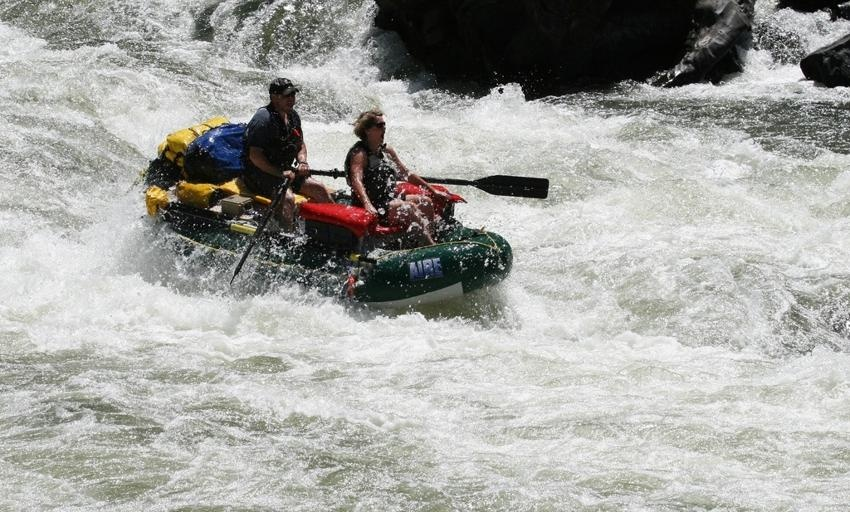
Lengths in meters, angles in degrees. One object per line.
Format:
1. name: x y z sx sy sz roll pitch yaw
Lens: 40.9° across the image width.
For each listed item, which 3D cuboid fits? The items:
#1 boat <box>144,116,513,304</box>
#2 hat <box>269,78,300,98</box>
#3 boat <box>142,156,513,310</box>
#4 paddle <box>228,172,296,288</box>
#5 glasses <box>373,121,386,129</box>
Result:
1. boat: -1.400 -0.287 15.748 4.721 1.270 2.460 19 28 8
2. hat: -1.961 -2.379 15.837 0.330 0.203 0.376 13 32 4
3. boat: -1.237 -0.158 15.679 3.879 0.853 2.054 17 14 12
4. paddle: -2.233 -0.303 15.710 0.163 2.008 0.165 39 -4 8
5. glasses: -0.624 -1.789 15.368 0.099 0.103 0.038 -3 73 -36
